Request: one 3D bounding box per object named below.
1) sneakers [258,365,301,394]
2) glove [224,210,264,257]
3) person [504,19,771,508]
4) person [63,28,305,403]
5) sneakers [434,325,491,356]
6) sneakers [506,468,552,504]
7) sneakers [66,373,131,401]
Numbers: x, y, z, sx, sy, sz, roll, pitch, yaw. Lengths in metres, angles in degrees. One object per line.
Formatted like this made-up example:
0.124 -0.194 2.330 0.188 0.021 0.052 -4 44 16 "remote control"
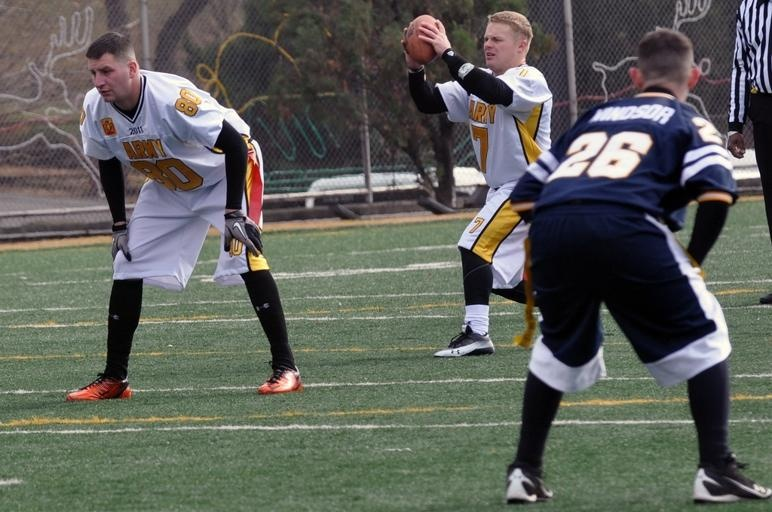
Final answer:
-0.655 0.760 6.731 0.134 0.092 0.252 -5 -8 32 "sneakers"
-0.871 -0.141 6.786 0.122 0.298 0.246 4 12 41 "glove"
1.140 0.179 5.231 1.156 1.834 0.634 -3 10 6 "person"
-1.320 -0.269 6.823 1.248 2.177 0.770 -5 9 -5 "person"
0.518 0.572 7.508 0.406 0.185 0.186 -3 9 3 "sneakers"
0.646 1.067 5.187 0.164 0.074 0.192 -1 6 -1 "sneakers"
-1.758 0.809 6.807 0.407 0.149 0.148 2 -2 -14 "sneakers"
